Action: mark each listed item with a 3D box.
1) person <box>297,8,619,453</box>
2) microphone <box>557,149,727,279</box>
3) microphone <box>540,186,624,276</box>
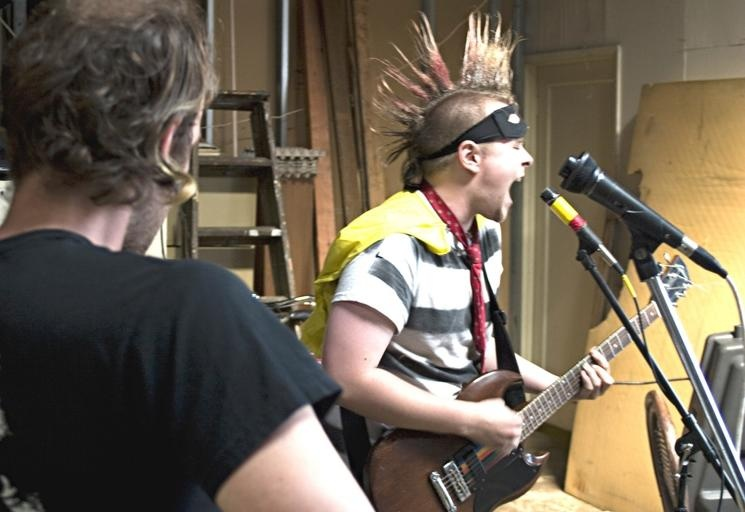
[{"bbox_3d":[0.207,-0.131,3.157,1.094,2.087,1.217,3,-1,8],"label":"person"},{"bbox_3d":[1.078,-0.182,3.191,0.682,0.186,0.259,38,-27,7],"label":"microphone"},{"bbox_3d":[0.894,-0.103,3.502,0.129,0.505,0.102,-33,9,41],"label":"microphone"}]
